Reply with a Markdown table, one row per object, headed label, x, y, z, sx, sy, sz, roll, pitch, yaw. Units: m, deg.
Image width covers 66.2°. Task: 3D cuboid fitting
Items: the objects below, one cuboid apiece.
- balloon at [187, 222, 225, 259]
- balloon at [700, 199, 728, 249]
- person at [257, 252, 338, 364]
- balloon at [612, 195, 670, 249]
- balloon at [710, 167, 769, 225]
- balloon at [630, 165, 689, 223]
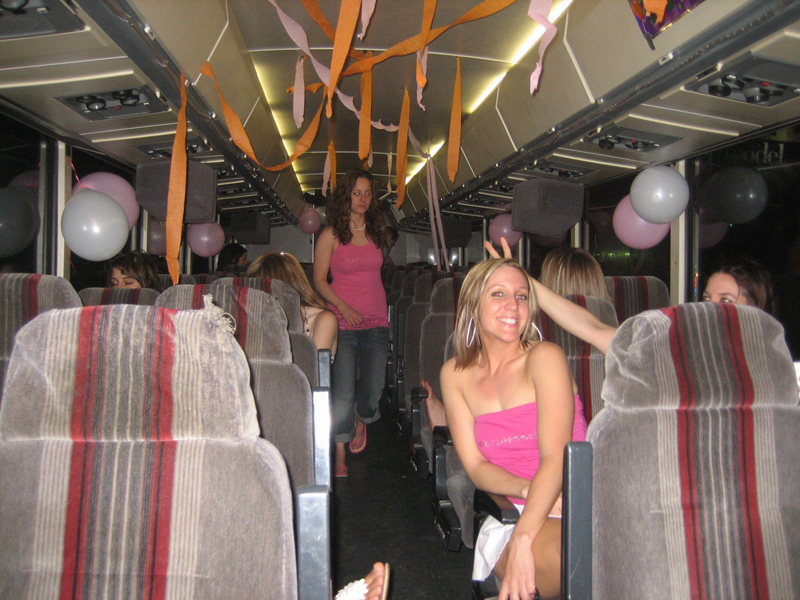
| label | x | y | z | sx | sy | sz | roll | pitch | yaw |
| --- | --- | --- | --- | --- | --- | --- | --- | --- | --- |
| balloon | -2.460 | -0.793 | 8.068 | 0.383 | 0.472 | 0.506 | -8 | 8 | 12 |
| balloon | 2.311 | -0.559 | 4.626 | 0.229 | 0.322 | 0.253 | -11 | 2 | 3 |
| person | -0.617 | 0.042 | 4.094 | 0.585 | 0.876 | 0.556 | 0 | -1 | 19 |
| balloon | 1.899 | -0.606 | 5.021 | 0.355 | 0.508 | 0.396 | 4 | 4 | 12 |
| balloon | 2.253 | -0.697 | 4.255 | 0.295 | 0.431 | 0.332 | -1 | -11 | 1 |
| balloon | 1.889 | -0.724 | 4.649 | 0.359 | 0.504 | 0.401 | -1 | -17 | 3 |
